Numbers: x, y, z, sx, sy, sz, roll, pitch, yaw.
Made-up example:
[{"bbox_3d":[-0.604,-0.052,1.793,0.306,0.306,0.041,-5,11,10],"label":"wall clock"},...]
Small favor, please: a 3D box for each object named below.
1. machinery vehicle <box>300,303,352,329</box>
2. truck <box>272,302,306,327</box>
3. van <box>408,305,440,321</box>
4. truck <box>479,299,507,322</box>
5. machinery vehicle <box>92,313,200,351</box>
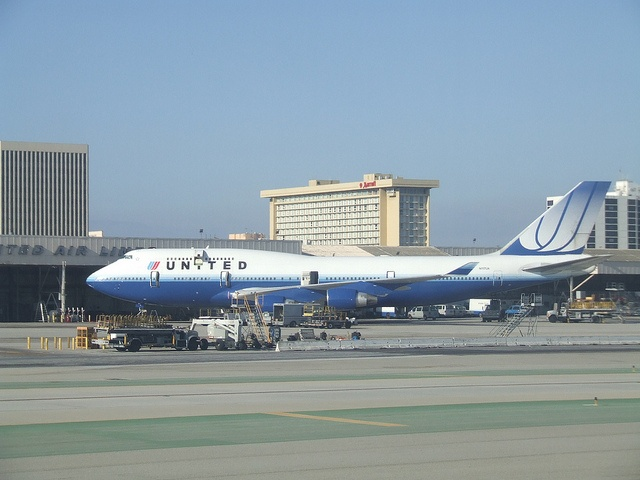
[{"bbox_3d":[0.289,4.775,82.906,1.777,1.103,2.597,-4,-6,44],"label":"machinery vehicle"},{"bbox_3d":[-1.855,4.489,79.495,2.090,1.278,1.086,3,-5,-28],"label":"truck"},{"bbox_3d":[9.067,6.256,112.072,2.317,0.916,1.501,1,-2,-15],"label":"van"},{"bbox_3d":[14.424,5.946,108.299,1.468,1.303,2.332,-2,-5,19],"label":"truck"},{"bbox_3d":[-9.206,5.075,69.856,3.836,1.193,2.650,-1,1,-28],"label":"machinery vehicle"}]
